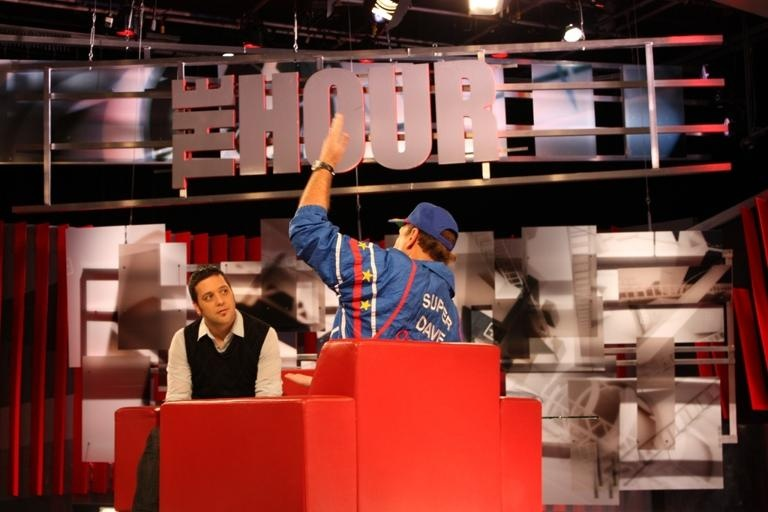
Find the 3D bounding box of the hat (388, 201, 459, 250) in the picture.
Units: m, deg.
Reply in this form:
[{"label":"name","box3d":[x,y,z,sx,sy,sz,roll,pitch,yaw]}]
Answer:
[{"label":"hat","box3d":[0.330,-0.237,7.574,0.523,0.271,0.337,28,4,17]}]

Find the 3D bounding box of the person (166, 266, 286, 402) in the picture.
[{"label":"person","box3d":[-1.387,0.804,7.710,0.905,1.302,0.960,0,16,11]}]
